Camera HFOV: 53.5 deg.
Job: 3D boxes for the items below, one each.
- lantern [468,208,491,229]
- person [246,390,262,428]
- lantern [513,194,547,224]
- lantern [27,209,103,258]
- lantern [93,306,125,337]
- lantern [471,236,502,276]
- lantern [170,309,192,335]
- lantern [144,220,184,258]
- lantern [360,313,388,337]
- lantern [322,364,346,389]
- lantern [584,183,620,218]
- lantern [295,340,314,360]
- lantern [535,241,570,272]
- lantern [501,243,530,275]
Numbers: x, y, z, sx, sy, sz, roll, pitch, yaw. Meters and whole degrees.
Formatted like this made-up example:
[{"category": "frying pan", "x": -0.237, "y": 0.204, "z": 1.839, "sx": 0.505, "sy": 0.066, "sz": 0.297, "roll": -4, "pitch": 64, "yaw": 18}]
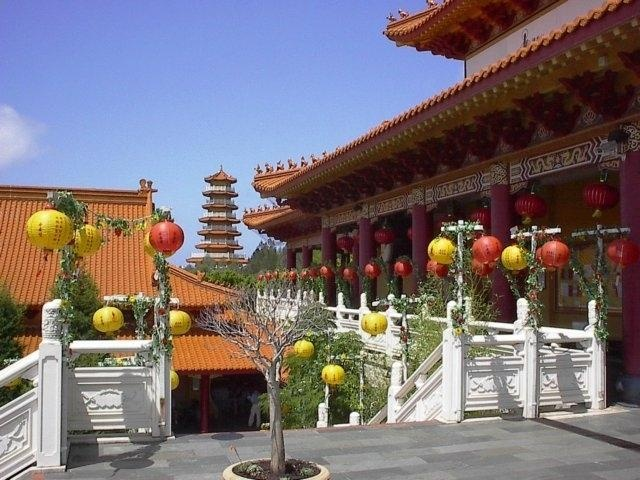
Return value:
[{"category": "lantern", "x": 3.172, "y": -0.434, "z": 12.450, "sx": 0.335, "sy": 0.403, "sz": 0.694, "roll": 2, "pitch": 8, "yaw": 13}, {"category": "person", "x": -1.959, "y": 5.025, "z": 19.061, "sx": 0.376, "sy": 0.888, "sz": 1.506, "roll": -1, "pitch": 8, "yaw": -6}, {"category": "lantern", "x": 3.727, "y": -0.549, "z": 11.259, "sx": 0.489, "sy": 0.595, "sz": 0.494, "roll": 3, "pitch": -9, "yaw": 14}, {"category": "lantern", "x": -3.280, "y": -0.077, "z": 8.241, "sx": 0.451, "sy": 0.527, "sz": 1.038, "roll": 3, "pitch": -6, "yaw": 18}, {"category": "lantern", "x": -3.759, "y": 1.412, "z": 11.324, "sx": 0.463, "sy": 0.480, "sz": 0.343, "roll": -2, "pitch": 8, "yaw": -11}, {"category": "lantern", "x": 2.641, "y": 0.224, "z": 10.056, "sx": 0.460, "sy": 0.580, "sz": 0.484, "roll": 12, "pitch": -23, "yaw": -32}, {"category": "lantern", "x": -2.493, "y": 1.544, "z": 11.369, "sx": 0.325, "sy": 0.558, "sz": 1.033, "roll": -2, "pitch": 8, "yaw": -15}, {"category": "lantern", "x": -2.071, "y": -0.052, "z": 8.676, "sx": 0.556, "sy": 0.504, "sz": 0.587, "roll": 4, "pitch": 15, "yaw": 5}, {"category": "lantern", "x": 1.052, "y": 1.561, "z": 11.976, "sx": 0.414, "sy": 0.439, "sz": 0.429, "roll": -3, "pitch": -4, "yaw": 36}, {"category": "lantern", "x": 0.233, "y": 2.697, "z": 12.628, "sx": 0.429, "sy": 0.428, "sz": 0.423, "roll": 9, "pitch": -11, "yaw": -35}, {"category": "lantern", "x": 4.560, "y": -0.636, "z": 10.230, "sx": 0.498, "sy": 0.634, "sz": 0.544, "roll": 10, "pitch": 3, "yaw": 31}, {"category": "lantern", "x": -0.322, "y": 2.217, "z": 12.956, "sx": 0.344, "sy": 0.381, "sz": 0.423, "roll": -1, "pitch": 8, "yaw": -7}, {"category": "lantern", "x": 3.361, "y": 0.223, "z": 9.176, "sx": 0.399, "sy": 0.472, "sz": 0.404, "roll": -1, "pitch": -2, "yaw": -27}, {"category": "lantern", "x": 2.940, "y": 0.257, "z": 9.498, "sx": 0.351, "sy": 0.432, "sz": 0.361, "roll": -3, "pitch": -2, "yaw": 37}]
